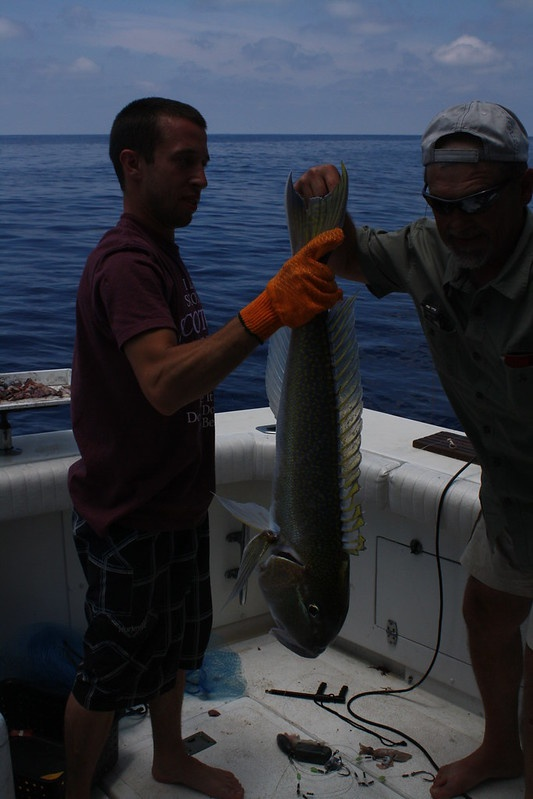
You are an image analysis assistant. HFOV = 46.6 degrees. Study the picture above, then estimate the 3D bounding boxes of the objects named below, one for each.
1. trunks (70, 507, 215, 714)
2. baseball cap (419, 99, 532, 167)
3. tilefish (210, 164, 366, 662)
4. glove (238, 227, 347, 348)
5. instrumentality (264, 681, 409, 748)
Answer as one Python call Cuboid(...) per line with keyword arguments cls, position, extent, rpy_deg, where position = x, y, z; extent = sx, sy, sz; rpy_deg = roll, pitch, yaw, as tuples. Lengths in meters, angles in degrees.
Cuboid(cls="trunks", position=(-0.380, 0.625, 1.829), extent=(0.483, 0.552, 0.250), rpy_deg=(6, -5, -3))
Cuboid(cls="baseball cap", position=(0.429, -0.532, 1.249), extent=(0.218, 0.143, 0.156), rpy_deg=(2, 7, 9))
Cuboid(cls="tilefish", position=(0.088, 0.022, 1.407), extent=(0.418, 0.942, 0.322), rpy_deg=(5, 5, 25))
Cuboid(cls="glove", position=(0.058, -0.188, 1.204), extent=(0.076, 0.256, 0.146), rpy_deg=(27, 25, -55))
Cuboid(cls="instrumentality", position=(0.269, 1.238, 2.500), extent=(0.384, 0.044, 0.177), rpy_deg=(5, 5, 31))
